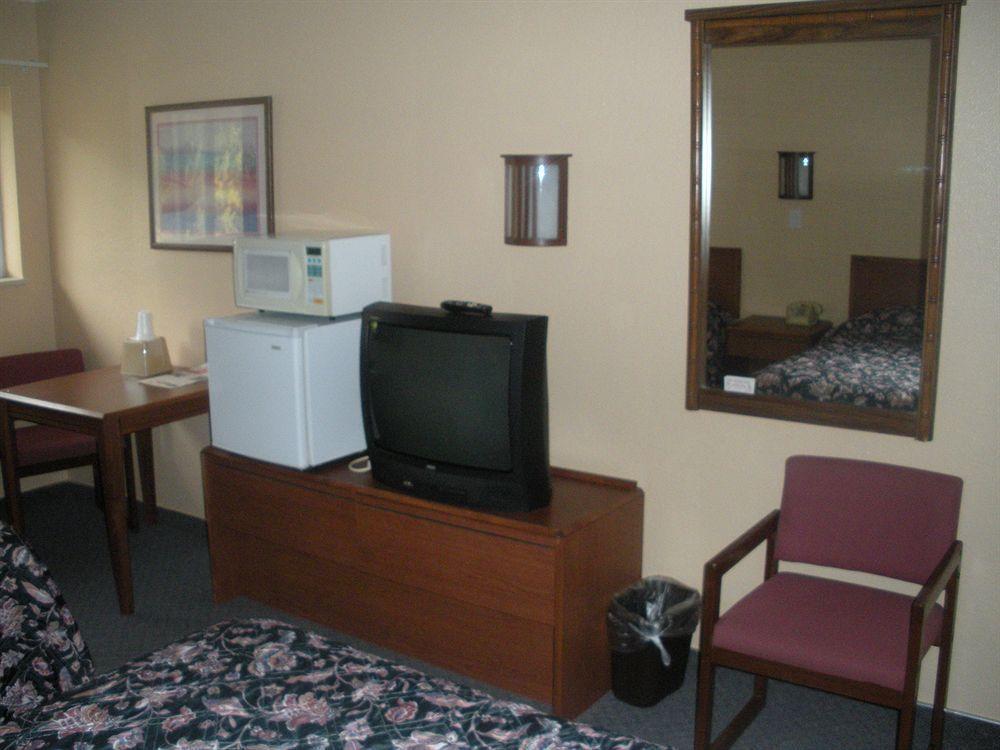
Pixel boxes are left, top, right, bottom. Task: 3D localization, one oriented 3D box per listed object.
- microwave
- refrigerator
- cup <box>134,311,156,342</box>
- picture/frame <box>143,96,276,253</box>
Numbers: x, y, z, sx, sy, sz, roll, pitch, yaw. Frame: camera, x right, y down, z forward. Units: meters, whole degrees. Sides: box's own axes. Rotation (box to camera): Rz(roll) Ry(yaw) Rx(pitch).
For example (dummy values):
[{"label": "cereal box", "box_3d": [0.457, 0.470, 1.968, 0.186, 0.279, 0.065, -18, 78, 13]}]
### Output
[{"label": "microwave", "box_3d": [-0.815, -0.464, 3.716, 0.553, 0.358, 0.430, 8, 13, 34]}, {"label": "refrigerator", "box_3d": [-1.003, -0.053, 3.888, 0.860, 0.844, 0.612, 8, 13, 41]}, {"label": "cup", "box_3d": [-1.983, -0.274, 4.465, 0.184, 0.156, 0.092, 10, 15, 43]}, {"label": "picture/frame", "box_3d": [-1.570, -1.064, 4.395, 0.831, 0.750, 0.029, 3, 8, 19]}]
